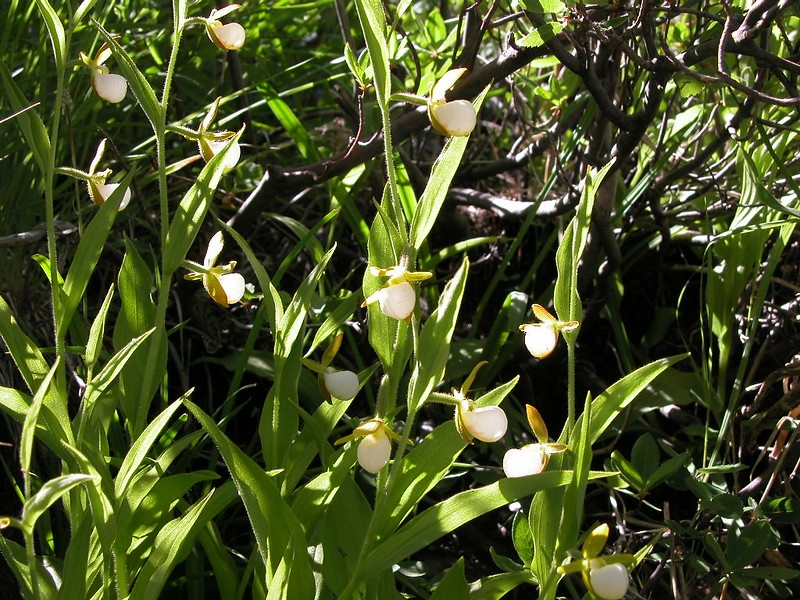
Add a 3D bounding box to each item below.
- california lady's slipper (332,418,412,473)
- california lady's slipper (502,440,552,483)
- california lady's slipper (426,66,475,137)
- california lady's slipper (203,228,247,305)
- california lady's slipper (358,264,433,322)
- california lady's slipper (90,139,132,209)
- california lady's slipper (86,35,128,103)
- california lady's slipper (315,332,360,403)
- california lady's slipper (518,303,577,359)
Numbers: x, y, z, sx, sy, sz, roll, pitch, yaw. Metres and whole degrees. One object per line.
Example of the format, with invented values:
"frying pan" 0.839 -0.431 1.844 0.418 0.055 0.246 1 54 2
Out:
"california lady's slipper" -0.057 0.231 1.237 0.109 0.087 0.043 -14 -12 21
"california lady's slipper" 0.206 0.263 1.266 0.056 0.039 0.054 -23 2 4
"california lady's slipper" 0.078 -0.311 1.237 0.075 0.109 0.044 -20 21 -31
"california lady's slipper" -0.311 -0.060 1.430 0.096 0.121 0.053 -17 -1 8
"california lady's slipper" -0.010 0.000 1.217 0.071 0.087 0.045 17 -46 -16
"california lady's slipper" -0.517 -0.215 1.385 0.069 0.151 0.069 6 -19 -25
"california lady's slipper" -0.513 -0.386 1.341 0.048 0.097 0.104 -38 41 -19
"california lady's slipper" -0.098 0.109 1.289 0.065 0.140 0.066 3 -15 22
"california lady's slipper" 0.253 0.059 1.311 0.088 0.088 0.121 18 1 15
